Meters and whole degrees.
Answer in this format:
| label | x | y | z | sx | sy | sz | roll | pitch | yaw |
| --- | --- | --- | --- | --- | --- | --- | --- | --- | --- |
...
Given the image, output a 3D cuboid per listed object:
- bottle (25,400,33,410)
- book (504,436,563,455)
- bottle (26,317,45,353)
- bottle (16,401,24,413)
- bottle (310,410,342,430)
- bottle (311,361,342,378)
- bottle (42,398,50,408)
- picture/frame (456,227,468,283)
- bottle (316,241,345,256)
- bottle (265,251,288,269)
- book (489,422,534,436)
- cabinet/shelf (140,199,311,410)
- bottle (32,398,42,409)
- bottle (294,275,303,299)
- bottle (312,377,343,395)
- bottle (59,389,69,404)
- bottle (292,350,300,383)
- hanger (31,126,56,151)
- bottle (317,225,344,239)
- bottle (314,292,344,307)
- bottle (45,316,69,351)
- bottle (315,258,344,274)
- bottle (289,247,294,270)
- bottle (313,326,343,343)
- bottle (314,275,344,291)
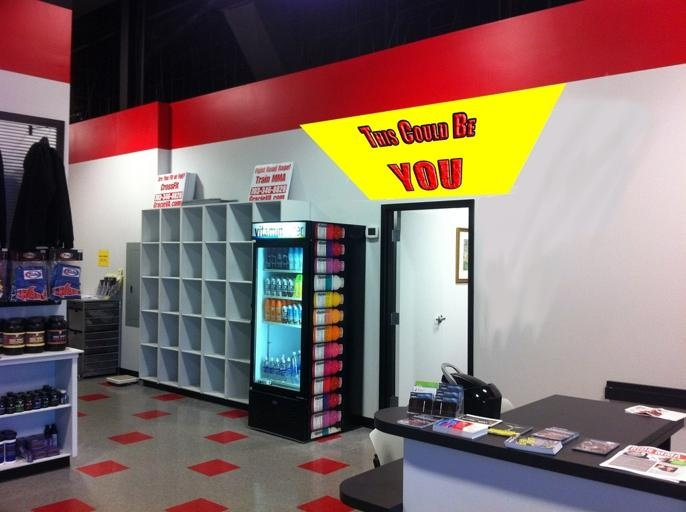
| label | x | y | z | sx | sy | sz | roll | pitch | yaw |
| --- | --- | --- | --- | --- | --- | --- | --- | --- | --- |
| bottle | -3.009 | 1.431 | 4.791 | 0.072 | 0.097 | 0.022 | -2 | 3 | -37 |
| book | 1.002 | 0.994 | 2.628 | 0.251 | 0.044 | 0.231 | 1 | 3 | 35 |
| bottle | -3.000 | 0.766 | 4.847 | 0.186 | 0.311 | 0.191 | -1 | -3 | 0 |
| bottle | -3.068 | 1.431 | 4.737 | 0.079 | 0.096 | 0.079 | 4 | -6 | -36 |
| bottle | -0.198 | 1.970 | 6.003 | 0.018 | 0.219 | 0.482 | 2 | 3 | 45 |
| bottle | -0.184 | 1.349 | 6.005 | 0.026 | 0.201 | 0.508 | 2 | 3 | 43 |
| bottle | -2.900 | 1.426 | 4.863 | 0.082 | 0.095 | 0.083 | -4 | -6 | 40 |
| picture/frame | 1.725 | -0.012 | 7.227 | 0.101 | 0.819 | 0.393 | 1 | 3 | 32 |
| bottle | -0.146 | -0.090 | 6.034 | 0.050 | 0.189 | 0.497 | 1 | 3 | 37 |
| bottle | -0.832 | 0.049 | 6.214 | 0.348 | 0.265 | 0.189 | 1 | 1 | 41 |
| book | 0.941 | 0.990 | 2.846 | 0.100 | 0.028 | 0.138 | 0 | -1 | 43 |
| cabinet/shelf | -1.587 | 0.685 | 6.956 | 2.816 | 2.848 | 0.666 | 1 | 0 | 44 |
| bottle | -2.957 | 1.423 | 4.826 | 0.080 | 0.098 | 0.083 | -2 | -4 | 32 |
| bottle | -0.541 | 0.373 | 6.050 | 0.137 | 0.291 | 0.067 | 2 | 3 | 44 |
| bottle | -0.191 | 1.562 | 6.010 | 0.020 | 0.228 | 0.499 | 2 | 3 | 43 |
| bottle | -2.784 | 1.412 | 4.968 | 0.097 | 0.119 | 0.102 | 0 | -6 | 0 |
| bottle | -0.583 | 1.360 | 6.144 | 0.090 | 0.346 | 0.339 | -1 | 2 | -7 |
| hanger | -3.093 | -1.217 | 5.129 | 0.057 | 0.269 | 0.283 | -8 | -8 | 41 |
| bottle | -0.146 | -0.290 | 6.016 | 0.083 | 0.187 | 0.476 | 1 | 3 | 35 |
| bottle | -0.164 | 0.523 | 6.036 | 0.034 | 0.203 | 0.502 | 2 | 3 | 42 |
| bottle | -2.844 | 0.765 | 4.962 | 0.195 | 0.315 | 0.182 | -1 | 0 | 0 |
| bottle | -0.161 | 0.111 | 6.030 | 0.059 | 0.195 | 0.514 | 1 | 3 | 39 |
| bottle | -0.630 | 0.033 | 6.085 | 0.119 | 0.252 | 0.042 | 1 | 3 | 37 |
| bottle | -0.174 | 0.936 | 6.030 | 0.025 | 0.203 | 0.501 | 2 | 3 | 42 |
| bottle | -0.164 | 0.325 | 6.036 | 0.047 | 0.209 | 0.496 | 2 | 3 | 41 |
